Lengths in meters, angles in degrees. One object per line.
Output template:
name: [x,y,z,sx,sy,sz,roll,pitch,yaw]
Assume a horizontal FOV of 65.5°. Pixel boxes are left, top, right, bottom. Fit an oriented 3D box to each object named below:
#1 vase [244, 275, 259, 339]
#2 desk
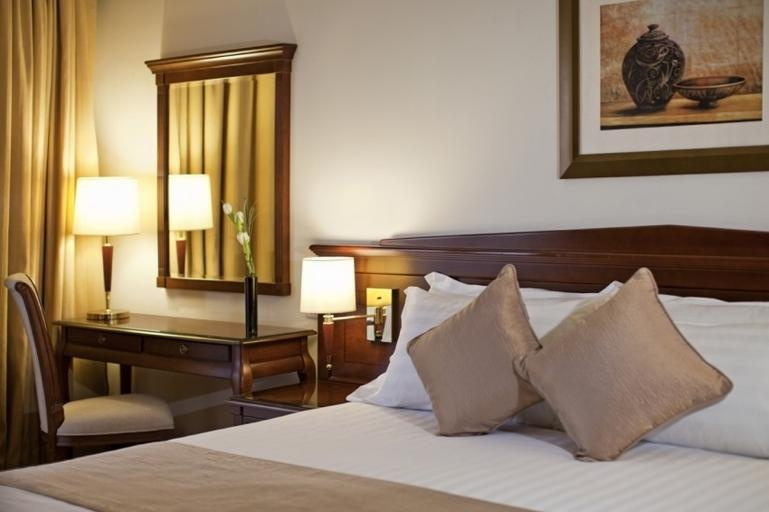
vase: [-0.765,0.292,3.456,0.079,0.347,0.078,-2,-3,23]
desk: [-1.362,0.842,3.942,1.671,0.850,0.625,1,1,28]
